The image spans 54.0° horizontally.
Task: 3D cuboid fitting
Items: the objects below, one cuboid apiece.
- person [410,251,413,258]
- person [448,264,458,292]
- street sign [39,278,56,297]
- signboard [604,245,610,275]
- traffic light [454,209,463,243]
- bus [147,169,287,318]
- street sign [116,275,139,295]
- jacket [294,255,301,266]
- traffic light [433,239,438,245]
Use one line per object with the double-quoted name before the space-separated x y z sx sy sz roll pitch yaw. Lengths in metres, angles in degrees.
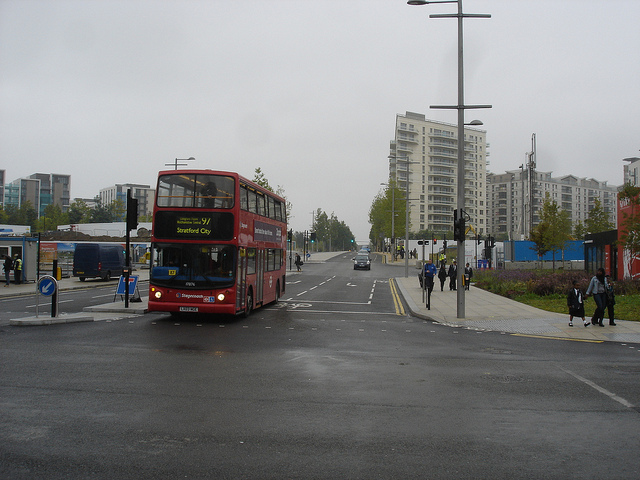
"person" 14.285 2.391 98.424 0.313 1.092 1.468 3 1 -5
"person" 7.757 2.263 36.751 0.405 1.567 1.852 1 1 9
"street sign" -8.339 1.442 19.106 0.498 0.606 0.090 -5 2 -34
"signboard" 18.254 1.247 39.893 0.270 1.790 1.550 1 1 24
"traffic light" 5.082 -0.470 23.071 0.304 1.204 0.899 1 1 12
"bus" -3.298 0.243 24.025 2.537 4.911 9.453 1 -1 8
"street sign" -7.721 1.845 25.071 0.019 1.010 1.275 5 -7 -42
"jacket" -2.134 2.032 59.702 0.375 0.782 0.962 1 1 7
"traffic light" 6.621 0.142 36.160 0.270 0.303 0.540 -1 -20 6
